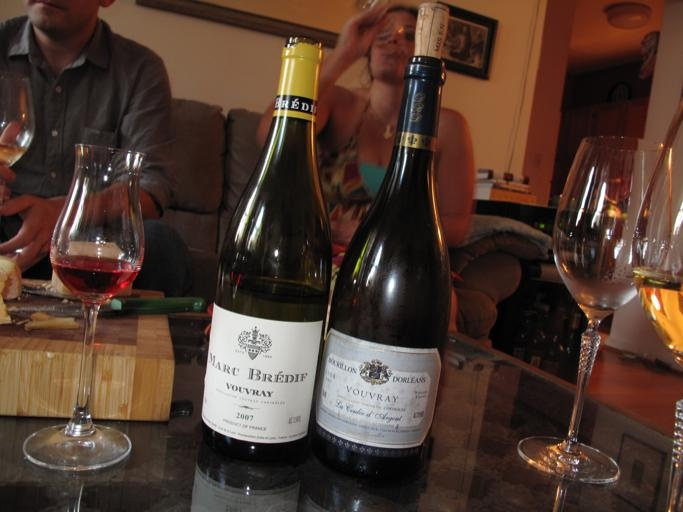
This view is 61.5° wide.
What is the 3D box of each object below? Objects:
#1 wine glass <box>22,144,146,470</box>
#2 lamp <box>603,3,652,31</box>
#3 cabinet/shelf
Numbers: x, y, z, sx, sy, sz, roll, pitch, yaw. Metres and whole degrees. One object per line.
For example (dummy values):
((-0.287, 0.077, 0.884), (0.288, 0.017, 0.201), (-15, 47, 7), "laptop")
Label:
((-0.282, 0.046, 0.632), (0.114, 0.318, 0.180), (2, 13, -20), "wine glass")
((2.651, -2.225, 5.314), (0.227, 0.090, 0.240), (-1, -3, -6), "lamp")
((0.822, 0.042, 2.620), (0.608, 0.730, 0.362), (-1, -2, -17), "cabinet/shelf")
